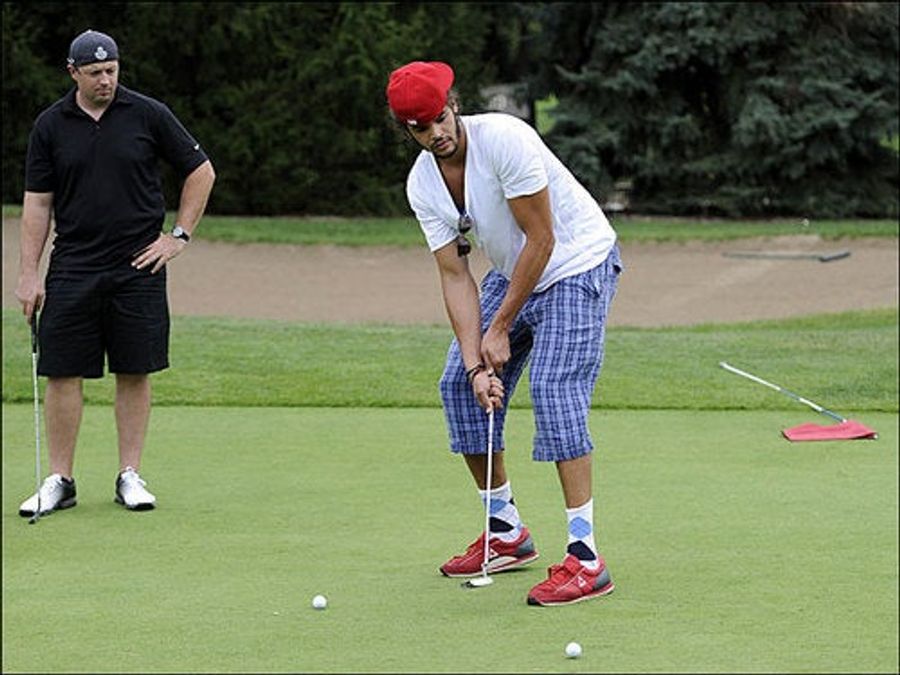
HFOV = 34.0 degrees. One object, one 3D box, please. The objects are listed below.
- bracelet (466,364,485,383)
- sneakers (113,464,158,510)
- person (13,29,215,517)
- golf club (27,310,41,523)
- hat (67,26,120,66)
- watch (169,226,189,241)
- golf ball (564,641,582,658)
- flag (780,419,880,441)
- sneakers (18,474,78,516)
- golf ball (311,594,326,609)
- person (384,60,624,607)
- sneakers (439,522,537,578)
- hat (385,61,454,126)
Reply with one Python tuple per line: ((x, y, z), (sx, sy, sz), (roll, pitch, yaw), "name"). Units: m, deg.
((0.132, 0.187, 7.463), (0.090, 0.022, 0.066), (-34, 23, -11), "bracelet")
((-1.785, 0.861, 8.391), (0.218, 0.183, 0.379), (-3, 13, -16), "sneakers")
((-1.939, -0.388, 8.374), (1.019, 2.640, 0.667), (-2, 13, -10), "person")
((-2.360, 0.447, 8.436), (0.084, 1.203, 0.110), (-6, -11, 11), "golf club")
((-2.007, -1.616, 8.317), (0.235, 0.151, 0.235), (-13, 31, -4), "hat")
((-1.577, -0.606, 8.572), (0.086, 0.093, 0.089), (37, -19, -26), "watch")
((0.562, 1.447, 6.783), (0.066, 0.064, 0.066), (-11, -19, -4), "golf ball")
((2.456, 0.625, 9.763), (0.656, 0.054, 0.432), (-4, 13, -19), "flag")
((-2.249, 0.891, 8.345), (0.144, 0.167, 0.371), (7, 8, 25), "sneakers")
((-0.642, 1.298, 7.193), (0.067, 0.067, 0.040), (3, -14, 9), "golf ball")
((0.282, -0.063, 7.431), (1.145, 2.591, 0.916), (2, 12, 9), "person")
((0.212, 1.108, 7.696), (0.583, 0.227, 0.192), (-6, 0, -21), "sneakers")
((-0.155, -1.218, 7.248), (0.256, 0.343, 0.145), (-4, -35, 21), "hat")
